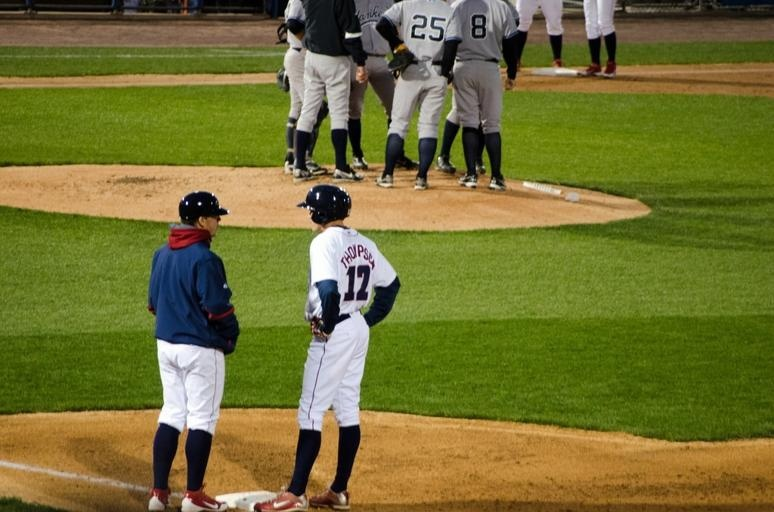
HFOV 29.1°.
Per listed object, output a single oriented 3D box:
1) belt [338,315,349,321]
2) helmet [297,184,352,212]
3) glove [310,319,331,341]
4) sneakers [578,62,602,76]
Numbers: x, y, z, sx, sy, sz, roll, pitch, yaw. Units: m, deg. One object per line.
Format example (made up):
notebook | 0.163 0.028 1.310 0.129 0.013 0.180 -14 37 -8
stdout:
belt | -0.559 0.817 19.511 0.146 0.087 0.020 -2 12 -17
helmet | -0.788 -0.782 19.664 0.515 0.231 0.379 4 12 1
glove | -0.902 0.982 19.390 0.195 0.282 0.128 -22 11 47
sneakers | 4.423 -4.156 32.916 0.590 0.267 0.228 -3 42 -13
